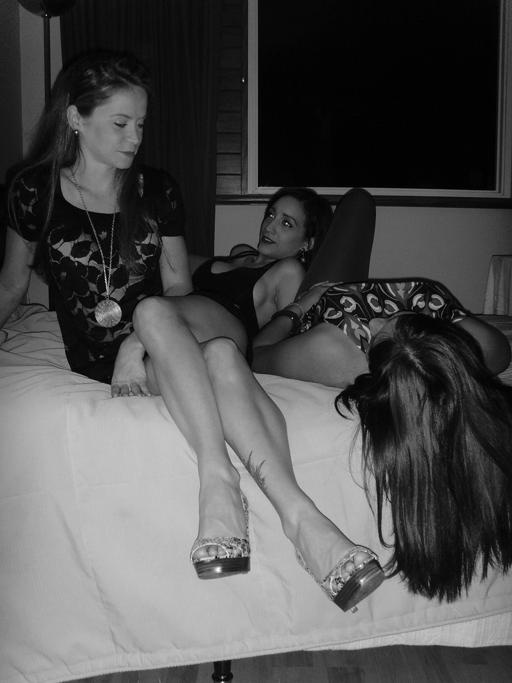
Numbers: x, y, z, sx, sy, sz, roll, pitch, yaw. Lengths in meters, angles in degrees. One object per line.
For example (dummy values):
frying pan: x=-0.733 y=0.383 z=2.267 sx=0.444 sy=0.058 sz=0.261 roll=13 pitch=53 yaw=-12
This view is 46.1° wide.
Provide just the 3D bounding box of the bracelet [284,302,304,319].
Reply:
bracelet: x=0.098 y=-0.083 z=1.575 sx=0.042 sy=0.022 sz=0.033 roll=22 pitch=7 yaw=-24

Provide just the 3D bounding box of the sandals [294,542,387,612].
sandals: x=0.146 y=0.364 z=0.930 sx=0.069 sy=0.047 sz=0.116 roll=31 pitch=-14 yaw=-14

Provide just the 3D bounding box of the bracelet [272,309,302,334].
bracelet: x=0.086 y=-0.062 z=1.566 sx=0.053 sy=0.071 sz=0.024 roll=-31 pitch=0 yaw=-18

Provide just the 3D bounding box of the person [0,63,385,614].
person: x=-0.111 y=0.068 z=1.426 sx=0.668 sy=0.799 sz=1.218 roll=-13 pitch=54 yaw=-27
